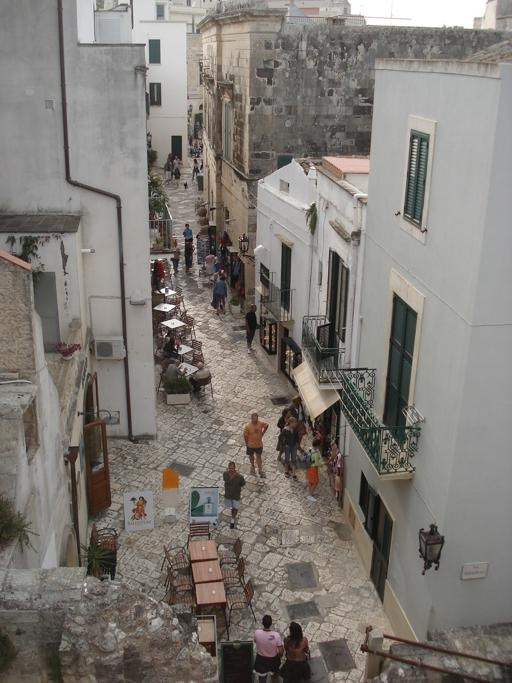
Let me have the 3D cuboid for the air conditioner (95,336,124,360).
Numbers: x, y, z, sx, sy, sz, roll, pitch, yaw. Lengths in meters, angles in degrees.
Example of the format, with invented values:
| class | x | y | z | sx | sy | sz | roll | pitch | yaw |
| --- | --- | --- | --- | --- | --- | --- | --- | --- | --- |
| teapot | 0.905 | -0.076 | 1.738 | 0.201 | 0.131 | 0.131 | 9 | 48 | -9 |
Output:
| class | x | y | z | sx | sy | sz | roll | pitch | yaw |
| --- | --- | --- | --- | --- | --- | --- | --- | --- | --- |
| air conditioner | -3.681 | 0.190 | 13.399 | 0.678 | 0.780 | 0.449 | 0 | 12 | -8 |

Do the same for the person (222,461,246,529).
| class | x | y | z | sx | sy | sz | roll | pitch | yaw |
| --- | --- | --- | --- | --- | --- | --- | --- | --- | --- |
| person | -0.503 | 3.168 | 11.096 | 0.447 | 1.520 | 0.411 | 8 | 19 | 23 |

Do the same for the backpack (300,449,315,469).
| class | x | y | z | sx | sy | sz | roll | pitch | yaw |
| --- | --- | --- | --- | --- | --- | --- | --- | --- | --- |
| backpack | 1.132 | 2.621 | 11.976 | 0.164 | 0.426 | 0.438 | -14 | 24 | -36 |

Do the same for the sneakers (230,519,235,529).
| class | x | y | z | sx | sy | sz | roll | pitch | yaw |
| --- | --- | --- | --- | --- | --- | --- | --- | --- | --- |
| sneakers | -0.489 | 3.836 | 11.250 | 0.053 | 0.090 | 0.191 | 0 | 24 | 5 |

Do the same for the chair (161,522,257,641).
| class | x | y | z | sx | sy | sz | roll | pitch | yaw |
| --- | --- | --- | --- | --- | --- | --- | --- | --- | --- |
| chair | -0.784 | 4.366 | 9.204 | 1.164 | 0.669 | 2.290 | -3 | 34 | -10 |

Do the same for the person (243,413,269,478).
| class | x | y | z | sx | sy | sz | roll | pitch | yaw |
| --- | --- | --- | --- | --- | --- | --- | --- | --- | --- |
| person | -0.003 | 2.419 | 13.113 | 0.517 | 1.883 | 1.006 | -1 | 18 | -1 |

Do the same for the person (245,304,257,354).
| class | x | y | z | sx | sy | sz | roll | pitch | yaw |
| --- | --- | --- | --- | --- | --- | --- | --- | --- | --- |
| person | -0.171 | -0.396 | 20.457 | 0.522 | 2.599 | 0.795 | 2 | 24 | 5 |
